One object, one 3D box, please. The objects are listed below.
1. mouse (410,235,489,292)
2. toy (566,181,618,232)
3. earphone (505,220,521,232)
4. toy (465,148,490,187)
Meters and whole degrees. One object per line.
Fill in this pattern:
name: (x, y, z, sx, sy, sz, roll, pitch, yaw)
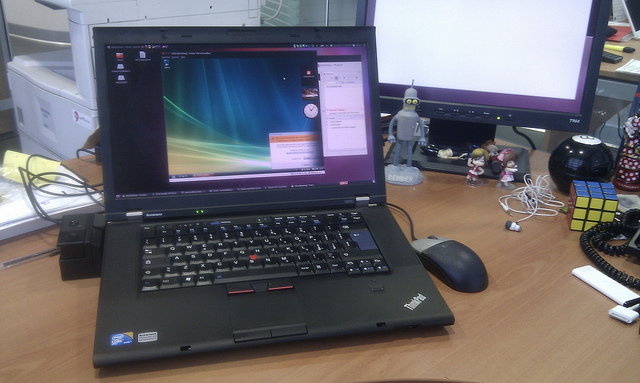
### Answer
mouse: (0.312, 0.152, 1.141, 0.128, 0.065, 0.212, -20, 26, -15)
toy: (0.720, 0.037, 1.249, 0.107, 0.103, 0.130, 10, 27, 26)
earphone: (0.501, 0.090, 1.226, 0.036, 0.012, 0.021, 28, 58, 27)
toy: (0.472, -0.073, 1.414, 0.071, 0.114, 0.068, 23, 22, 33)
